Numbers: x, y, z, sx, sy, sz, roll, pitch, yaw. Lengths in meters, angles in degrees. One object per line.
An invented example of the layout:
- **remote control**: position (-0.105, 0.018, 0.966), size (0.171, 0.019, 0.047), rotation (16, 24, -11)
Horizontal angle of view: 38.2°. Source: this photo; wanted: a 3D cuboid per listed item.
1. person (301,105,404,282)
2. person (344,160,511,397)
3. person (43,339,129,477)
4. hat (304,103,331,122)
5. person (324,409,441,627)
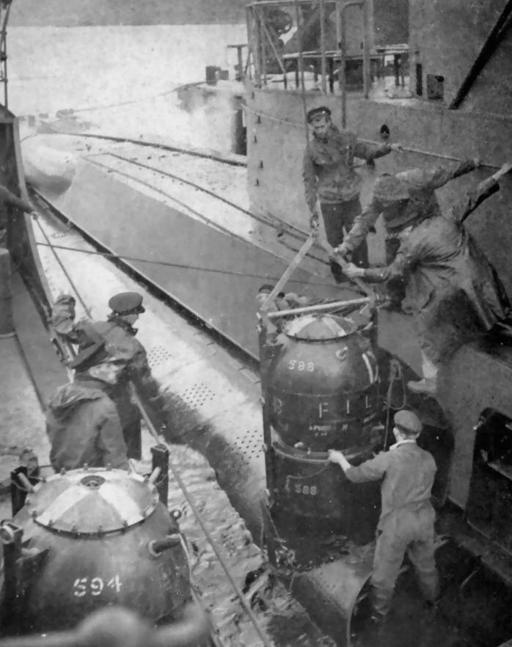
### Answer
- **person**: position (1.028, -1.491, 8.528), size (0.830, 2.293, 0.618), rotation (-5, 45, 9)
- **person**: position (1.433, -0.385, 6.221), size (1.311, 1.849, 0.743), rotation (4, 12, 27)
- **person**: position (-1.619, 0.731, 6.775), size (0.604, 1.326, 0.300), rotation (-14, 2, -17)
- **hat**: position (0.627, -2.239, 7.868), size (0.234, 0.128, 0.279), rotation (-9, 6, -33)
- **person**: position (1.031, 1.460, 5.655), size (0.677, 1.524, 0.444), rotation (-6, 12, -23)
